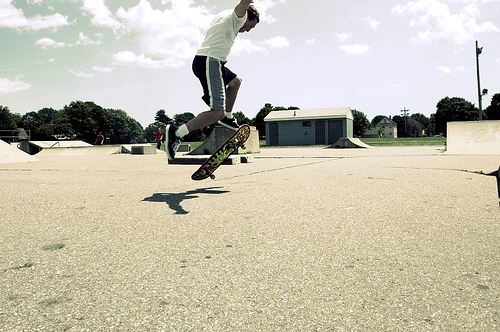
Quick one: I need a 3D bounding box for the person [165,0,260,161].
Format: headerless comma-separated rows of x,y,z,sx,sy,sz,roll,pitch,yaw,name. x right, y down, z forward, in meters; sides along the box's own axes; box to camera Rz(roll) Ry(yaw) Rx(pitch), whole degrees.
-0.491,-1.157,5.377,1.316,2.090,0.675,-2,5,-13,person

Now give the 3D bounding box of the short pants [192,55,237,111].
-0.477,-1.104,5.369,0.543,0.737,0.329,-2,5,-15,short pants
